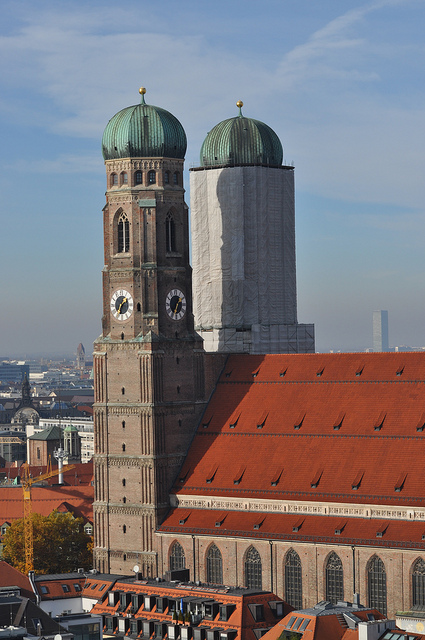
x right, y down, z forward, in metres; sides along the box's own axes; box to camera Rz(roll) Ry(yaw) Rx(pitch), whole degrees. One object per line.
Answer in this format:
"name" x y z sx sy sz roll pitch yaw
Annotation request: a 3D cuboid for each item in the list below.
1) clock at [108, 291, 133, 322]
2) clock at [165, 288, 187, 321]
"clock" -5.602 -0.731 130.909 0.400 1.923 2.017 -1 -2 -38
"clock" -2.187 -0.832 131.637 0.168 1.532 1.482 -1 -27 31
